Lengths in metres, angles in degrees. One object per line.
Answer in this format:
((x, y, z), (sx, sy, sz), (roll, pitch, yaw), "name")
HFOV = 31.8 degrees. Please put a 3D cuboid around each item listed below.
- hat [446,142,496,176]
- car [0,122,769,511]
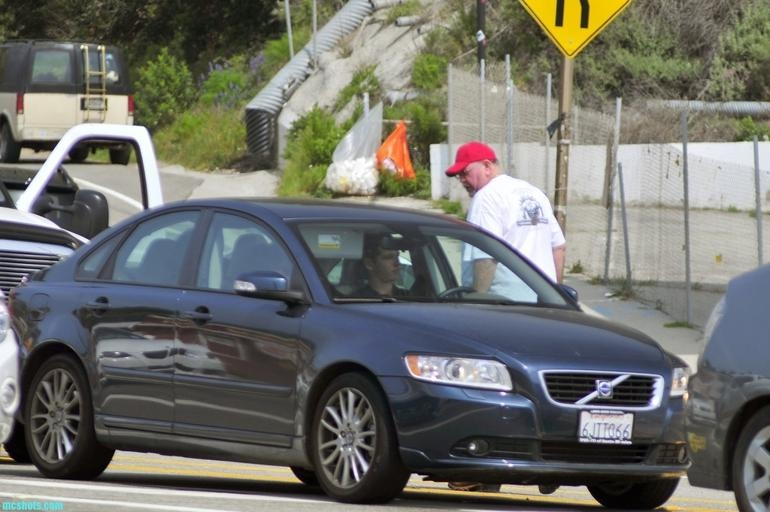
((0.861, -0.980, 13.452), (0.559, 0.274, 0.351), (-10, -6, -6), "hat")
((-0.371, 0.572, 11.820), (5.176, 2.340, 2.885), (-1, -4, 34), "car")
